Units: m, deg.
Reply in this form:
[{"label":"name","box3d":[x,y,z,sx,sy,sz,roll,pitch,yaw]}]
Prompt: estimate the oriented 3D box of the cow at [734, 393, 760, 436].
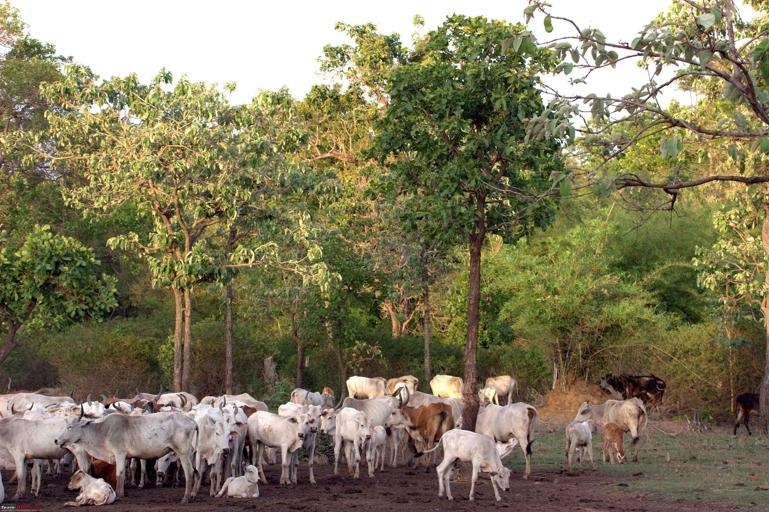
[{"label":"cow","box3d":[14.821,6.503,44.062,1.037,1.721,1.561,-4,-14,18]}]
